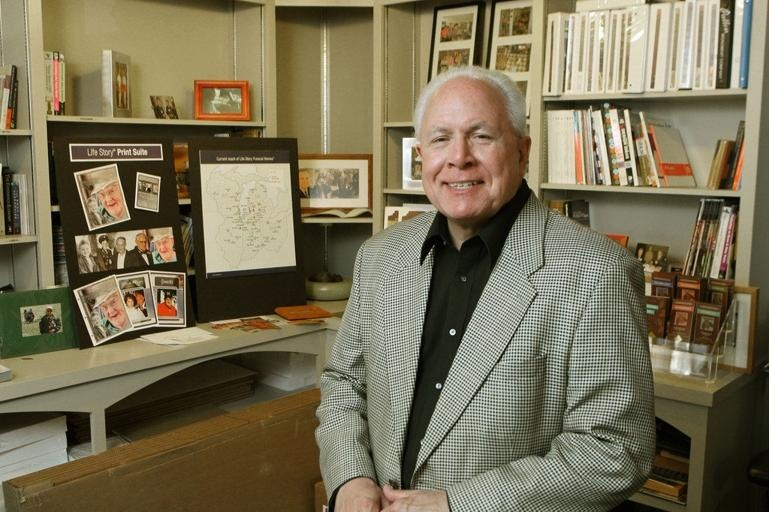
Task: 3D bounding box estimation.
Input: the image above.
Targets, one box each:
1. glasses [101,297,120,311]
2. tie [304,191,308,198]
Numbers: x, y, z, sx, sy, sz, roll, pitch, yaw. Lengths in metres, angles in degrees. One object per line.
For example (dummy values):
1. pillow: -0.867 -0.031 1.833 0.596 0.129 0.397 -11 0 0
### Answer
1. glasses: -1.293 0.228 2.872 0.061 0.049 0.027 -26 16 -40
2. tie: -0.475 -0.364 3.650 0.043 0.039 0.010 2 -3 -7
